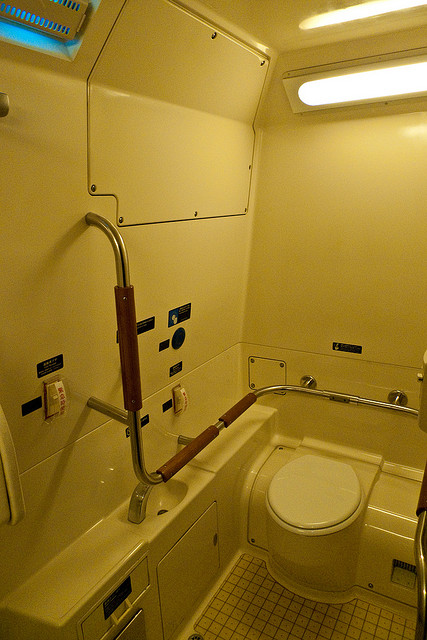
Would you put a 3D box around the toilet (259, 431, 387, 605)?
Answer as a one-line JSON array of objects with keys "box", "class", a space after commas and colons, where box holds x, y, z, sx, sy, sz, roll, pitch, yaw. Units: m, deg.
[{"box": [0.508, 0.849, 2.068, 0.365, 0.432, 0.615, 12, 31, 37], "class": "toilet"}]
